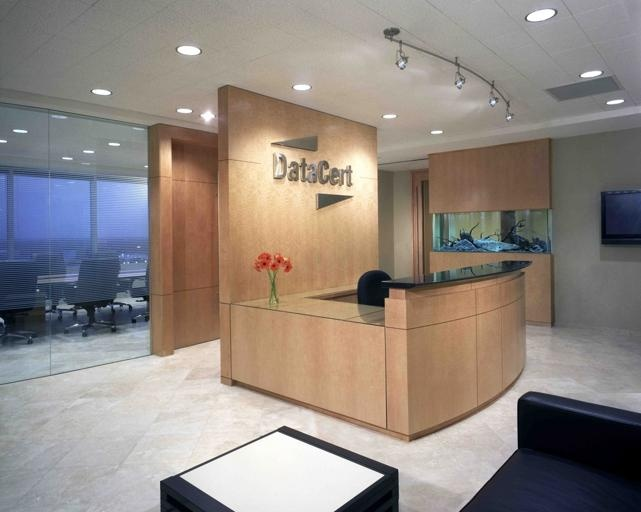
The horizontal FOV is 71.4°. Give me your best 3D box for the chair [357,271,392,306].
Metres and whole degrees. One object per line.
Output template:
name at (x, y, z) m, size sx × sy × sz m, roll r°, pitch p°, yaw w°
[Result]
chair at (0.534, 0.326, 4.437) m, size 0.388 × 0.488 × 0.191 m, roll 1°, pitch -1°, yaw -30°
